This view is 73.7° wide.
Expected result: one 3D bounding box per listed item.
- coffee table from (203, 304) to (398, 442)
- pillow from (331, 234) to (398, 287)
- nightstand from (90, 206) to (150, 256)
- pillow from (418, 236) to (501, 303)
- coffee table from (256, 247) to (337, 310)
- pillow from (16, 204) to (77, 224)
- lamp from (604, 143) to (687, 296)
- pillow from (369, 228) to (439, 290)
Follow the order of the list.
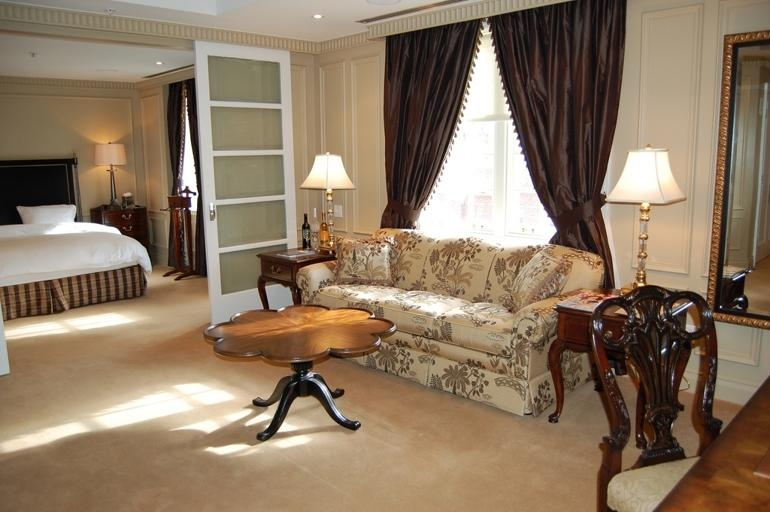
[{"bbox_3d":[-0.589,0.688,3.715,1.040,0.542,1.037,-4,13,-17],"label":"coffee table"},{"bbox_3d":[-0.196,0.065,5.078,0.520,0.448,0.189,1,-3,6],"label":"pillow"},{"bbox_3d":[-4.386,-0.348,8.724,0.736,0.584,0.891,-15,35,-22],"label":"nightstand"},{"bbox_3d":[0.689,0.129,4.758,0.270,0.577,0.615,12,5,-45],"label":"pillow"},{"bbox_3d":[-0.998,0.143,5.670,0.645,0.917,0.737,7,11,43],"label":"coffee table"},{"bbox_3d":[-5.076,-0.619,7.745,0.504,0.465,0.146,-4,-26,-39],"label":"pillow"},{"bbox_3d":[2.003,-0.303,3.940,0.489,1.078,0.607,5,11,35],"label":"lamp"},{"bbox_3d":[0.205,0.016,5.053,0.282,0.570,0.609,13,-7,-37],"label":"pillow"}]
